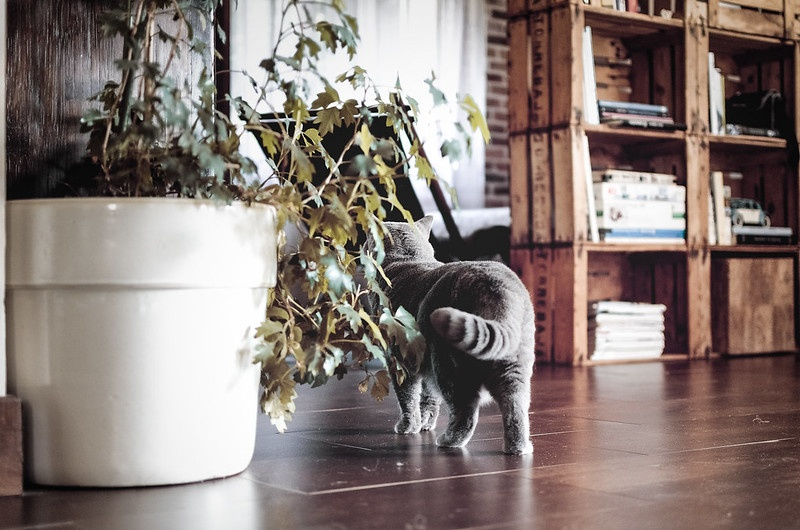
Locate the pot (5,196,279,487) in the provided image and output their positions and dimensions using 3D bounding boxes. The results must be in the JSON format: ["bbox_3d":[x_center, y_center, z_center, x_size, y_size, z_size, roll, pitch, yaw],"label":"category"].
[{"bbox_3d":[-0.504,0.155,1.857,0.540,0.498,0.516,0,-3,0],"label":"pot"}]

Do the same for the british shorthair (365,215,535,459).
[{"bbox_3d":[0.112,0.150,2.033,0.276,0.543,0.459,-1,2,-26],"label":"british shorthair"}]
